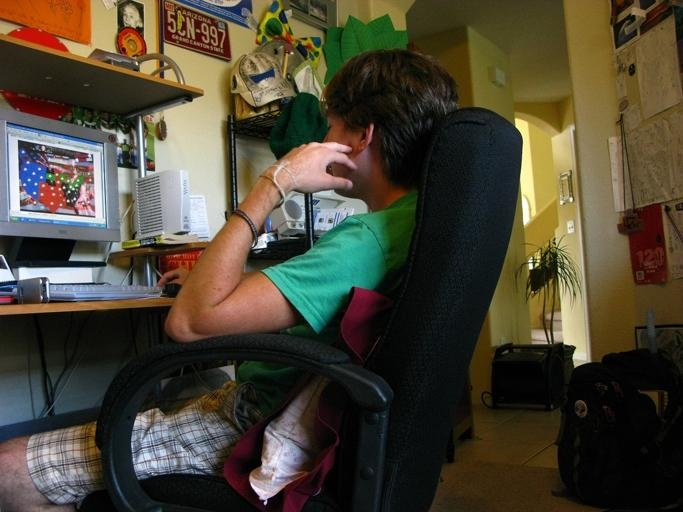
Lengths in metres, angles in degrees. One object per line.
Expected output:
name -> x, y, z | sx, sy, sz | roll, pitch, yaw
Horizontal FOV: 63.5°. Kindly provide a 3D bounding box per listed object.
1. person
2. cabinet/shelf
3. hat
person -> -0.261, 0.228, 1.896 | 1.294, 1.699, 0.769 | 4, -18, 28
cabinet/shelf -> -0.157, -0.248, 1.898 | 0.197, 0.693, 0.651 | -5, 3, 11
hat -> -0.399, -0.856, 2.688 | 0.233, 0.324, 0.104 | -24, -17, -20
